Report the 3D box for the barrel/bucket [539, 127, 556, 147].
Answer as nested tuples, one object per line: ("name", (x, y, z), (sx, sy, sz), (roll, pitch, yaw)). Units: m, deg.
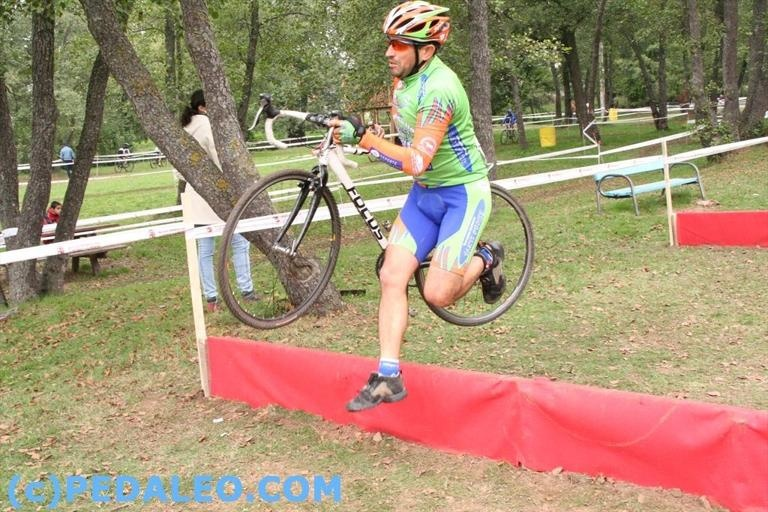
("barrel/bucket", (7.829, -5.740, 31.059), (0.710, 0.886, 1.762), (-2, 14, 14))
